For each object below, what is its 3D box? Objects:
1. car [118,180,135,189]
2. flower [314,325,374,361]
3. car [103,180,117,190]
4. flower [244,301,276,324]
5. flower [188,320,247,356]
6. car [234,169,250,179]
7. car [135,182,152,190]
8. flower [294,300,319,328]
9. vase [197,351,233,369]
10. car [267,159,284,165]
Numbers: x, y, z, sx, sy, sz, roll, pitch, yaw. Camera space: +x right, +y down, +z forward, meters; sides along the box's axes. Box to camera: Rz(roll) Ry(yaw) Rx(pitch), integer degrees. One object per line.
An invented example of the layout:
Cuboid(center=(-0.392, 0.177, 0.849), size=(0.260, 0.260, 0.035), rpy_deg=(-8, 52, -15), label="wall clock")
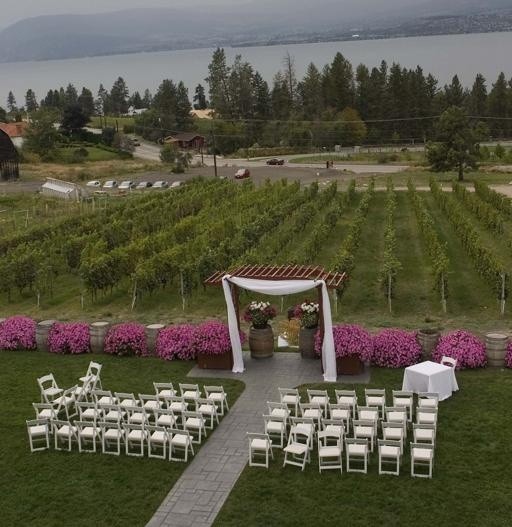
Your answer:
Cuboid(center=(-15.288, -9.148, 67.092), size=(1.199, 0.759, 2.035), rpy_deg=(1, 14, 1), label="car")
Cuboid(center=(2.414, 2.016, 14.829), size=(1.032, 0.710, 0.797), rpy_deg=(3, 19, 22), label="flower")
Cuboid(center=(-17.439, -9.256, 67.571), size=(1.073, 0.858, 1.814), rpy_deg=(-1, 15, 4), label="car")
Cuboid(center=(0.091, 1.415, 16.116), size=(0.702, 0.532, 0.695), rpy_deg=(4, 12, 29), label="flower")
Cuboid(center=(-1.241, 2.006, 15.697), size=(0.787, 0.742, 0.955), rpy_deg=(5, 7, 42), label="flower")
Cuboid(center=(-1.755, -11.246, 71.616), size=(1.548, 1.511, 2.754), rpy_deg=(-2, 7, 10), label="car")
Cuboid(center=(-13.272, -9.192, 67.382), size=(1.822, 0.721, 3.901), rpy_deg=(-4, 10, -11), label="car")
Cuboid(center=(1.404, 1.427, 15.896), size=(0.677, 0.812, 0.619), rpy_deg=(0, 10, 10), label="flower")
Cuboid(center=(-1.143, 2.521, 15.791), size=(0.582, 0.386, 0.613), rpy_deg=(0, 6, 10), label="vase")
Cuboid(center=(2.902, -15.481, 87.718), size=(1.842, 0.823, 1.288), rpy_deg=(6, 13, 22), label="car")
